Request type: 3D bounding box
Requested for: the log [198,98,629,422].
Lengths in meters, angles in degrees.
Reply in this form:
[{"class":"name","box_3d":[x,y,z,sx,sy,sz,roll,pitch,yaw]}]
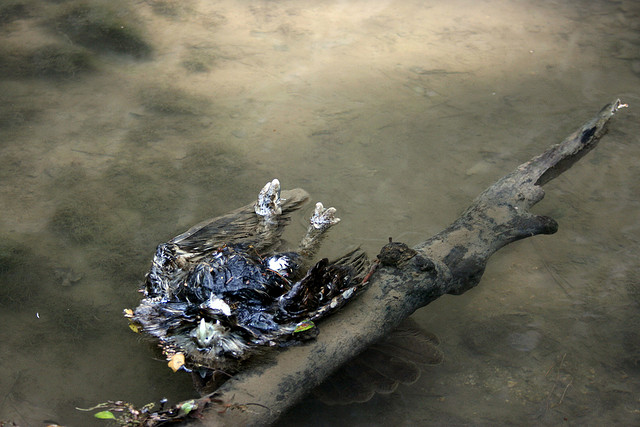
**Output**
[{"class":"log","box_3d":[1.166,0.682,9.851,6.193,0.708,1.057,-32,105,-12]}]
